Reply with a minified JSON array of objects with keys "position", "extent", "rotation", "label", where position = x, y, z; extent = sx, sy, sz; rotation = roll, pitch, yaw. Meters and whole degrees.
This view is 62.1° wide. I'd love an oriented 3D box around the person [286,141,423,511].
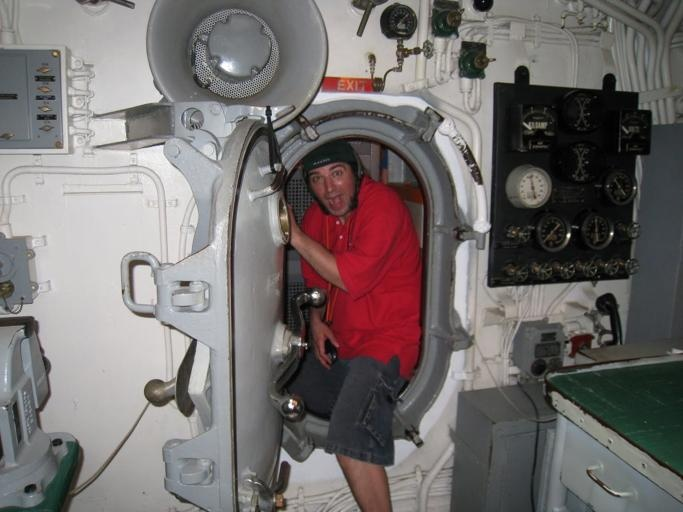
[{"position":[-0.007,0.270,2.720],"extent":[0.721,1.686,0.944],"rotation":[1,5,17],"label":"person"}]
